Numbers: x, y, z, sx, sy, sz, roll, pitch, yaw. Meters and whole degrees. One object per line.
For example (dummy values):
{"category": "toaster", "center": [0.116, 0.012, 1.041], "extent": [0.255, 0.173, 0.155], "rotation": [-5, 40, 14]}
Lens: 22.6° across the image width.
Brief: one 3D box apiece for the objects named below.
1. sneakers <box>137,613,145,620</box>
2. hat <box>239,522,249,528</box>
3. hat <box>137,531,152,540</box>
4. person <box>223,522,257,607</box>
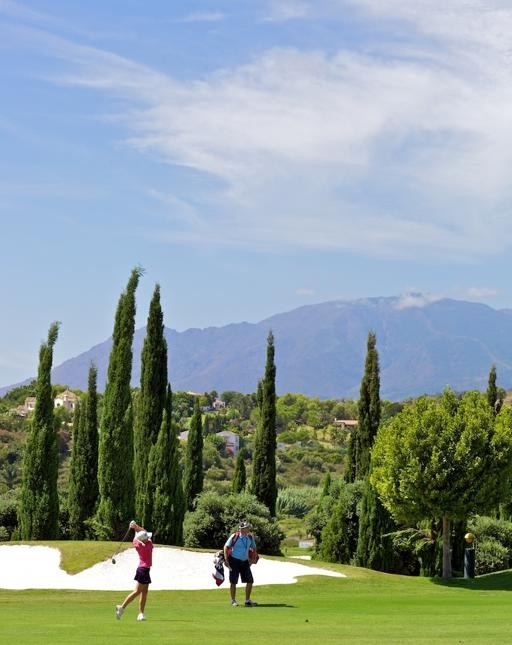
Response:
{"category": "sneakers", "center": [-2.842, 7.179, 31.440], "extent": [0.110, 0.184, 0.188], "rotation": [1, -35, -2]}
{"category": "hat", "center": [-0.329, 5.265, 33.727], "extent": [0.198, 0.165, 0.289], "rotation": [2, -9, -6]}
{"category": "hat", "center": [-2.791, 5.244, 31.707], "extent": [0.432, 0.245, 0.321], "rotation": [5, -10, -27]}
{"category": "person", "center": [-0.435, 6.346, 33.978], "extent": [0.836, 2.222, 1.061], "rotation": [1, -8, 1]}
